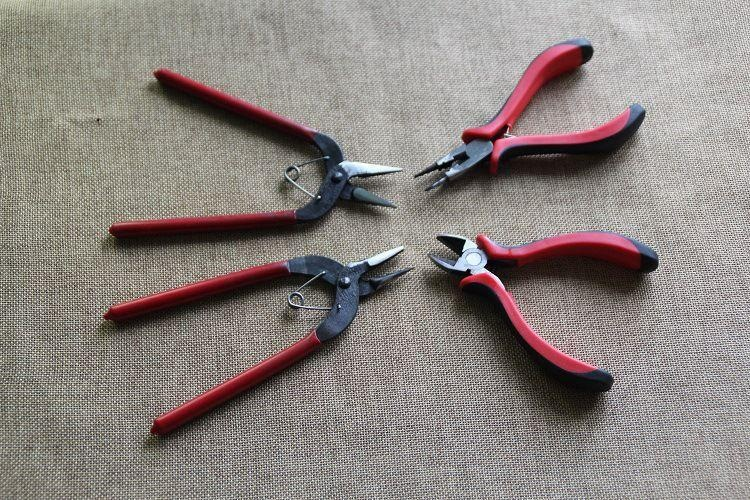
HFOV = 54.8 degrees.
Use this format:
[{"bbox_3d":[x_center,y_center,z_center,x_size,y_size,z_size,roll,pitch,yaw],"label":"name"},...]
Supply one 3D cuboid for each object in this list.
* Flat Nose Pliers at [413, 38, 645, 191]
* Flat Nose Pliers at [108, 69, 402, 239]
[{"bbox_3d":[0.315,-0.261,1.531,0.089,0.549,0.246,66,3,-74],"label":"Flat Nose Pliers"},{"bbox_3d":[-0.246,-0.215,1.557,0.680,0.365,0.056,3,-4,18],"label":"Flat Nose Pliers"}]
